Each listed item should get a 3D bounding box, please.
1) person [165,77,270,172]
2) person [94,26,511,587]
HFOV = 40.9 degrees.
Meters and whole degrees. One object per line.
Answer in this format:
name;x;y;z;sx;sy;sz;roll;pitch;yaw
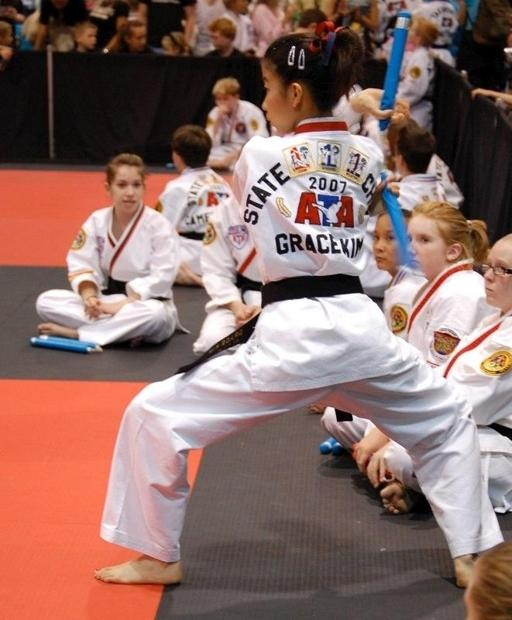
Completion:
person;-0.447;-2.248;8.391;1.222;0.988;0.961;1;29;6
person;0.198;0.068;1.863;1.071;1.567;0.724;9;32;7
